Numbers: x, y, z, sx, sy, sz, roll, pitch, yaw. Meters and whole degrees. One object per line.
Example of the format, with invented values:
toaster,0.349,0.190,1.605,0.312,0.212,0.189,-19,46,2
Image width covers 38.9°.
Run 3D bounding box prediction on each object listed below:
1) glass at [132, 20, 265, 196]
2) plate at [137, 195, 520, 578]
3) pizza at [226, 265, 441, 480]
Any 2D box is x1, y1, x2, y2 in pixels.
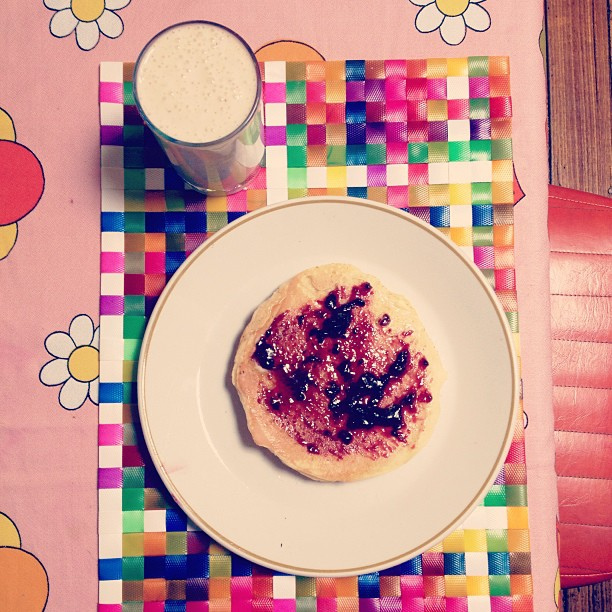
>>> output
glass,-0.149,-0.274,1.345,0.207,0.253,0.248,-5,90,-3
plate,0.037,0.157,1.382,0.566,0.077,0.597,1,93,2
pizza,0.051,0.113,1.371,0.333,0.034,0.316,35,84,2
